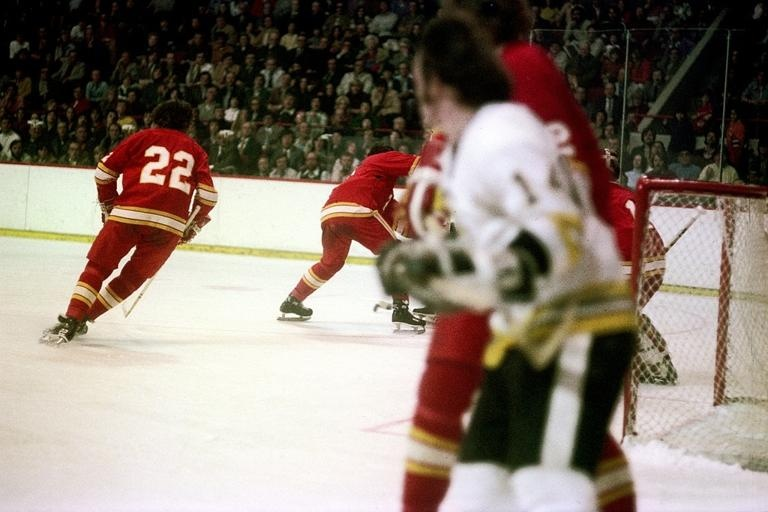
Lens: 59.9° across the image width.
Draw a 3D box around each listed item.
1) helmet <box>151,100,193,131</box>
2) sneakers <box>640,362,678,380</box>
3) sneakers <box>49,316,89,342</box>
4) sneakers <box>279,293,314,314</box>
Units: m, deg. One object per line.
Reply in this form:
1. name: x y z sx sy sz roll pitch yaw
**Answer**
1. helmet: -1.626 -1.064 5.151 0.244 0.176 0.264 2 -4 -45
2. sneakers: 1.817 0.773 4.444 0.163 0.052 0.177 0 19 6
3. sneakers: -2.202 0.509 4.613 0.116 0.147 0.336 33 -2 9
4. sneakers: -0.807 0.433 5.991 0.365 0.225 0.119 4 11 -19
